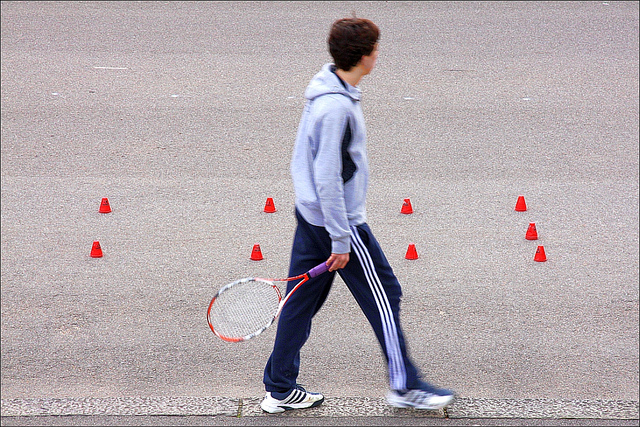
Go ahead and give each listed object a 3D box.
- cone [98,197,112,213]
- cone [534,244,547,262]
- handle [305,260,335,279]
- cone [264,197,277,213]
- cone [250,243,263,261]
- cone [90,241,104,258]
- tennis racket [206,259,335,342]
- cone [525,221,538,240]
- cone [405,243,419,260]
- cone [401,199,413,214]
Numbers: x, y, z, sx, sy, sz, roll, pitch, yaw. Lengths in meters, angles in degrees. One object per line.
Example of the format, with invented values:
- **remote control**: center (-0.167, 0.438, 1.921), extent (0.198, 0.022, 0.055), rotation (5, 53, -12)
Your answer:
- **cone**: center (-3.287, -0.148, 17.565), extent (0.244, 0.238, 0.243), rotation (0, -2, -44)
- **cone**: center (3.145, 0.558, 16.294), extent (0.175, 0.230, 0.202), rotation (-1, -1, 10)
- **handle**: center (-0.028, 0.665, 13.425), extent (0.456, 0.087, 0.132), rotation (-23, -15, 25)
- **cone**: center (-0.754, -0.148, 17.523), extent (0.192, 0.237, 0.267), rotation (-1, -1, -7)
- **cone**: center (-0.896, 0.540, 16.290), extent (0.177, 0.230, 0.169), rotation (0, -1, -31)
- **cone**: center (-3.199, 0.500, 16.439), extent (0.194, 0.233, 0.221), rotation (-1, -1, -10)
- **tennis racket**: center (-0.663, 1.020, 13.567), extent (2.273, 0.544, 0.121), rotation (-23, -1, -12)
- **cone**: center (3.110, 0.240, 16.826), extent (0.183, 0.251, 0.297), rotation (-1, -1, 9)
- **cone**: center (1.308, 0.528, 16.339), extent (0.179, 0.222, 0.164), rotation (-1, -1, 3)
- **cone**: center (1.326, -0.129, 17.401), extent (0.249, 0.223, 0.213), rotation (1, 0, -4)
